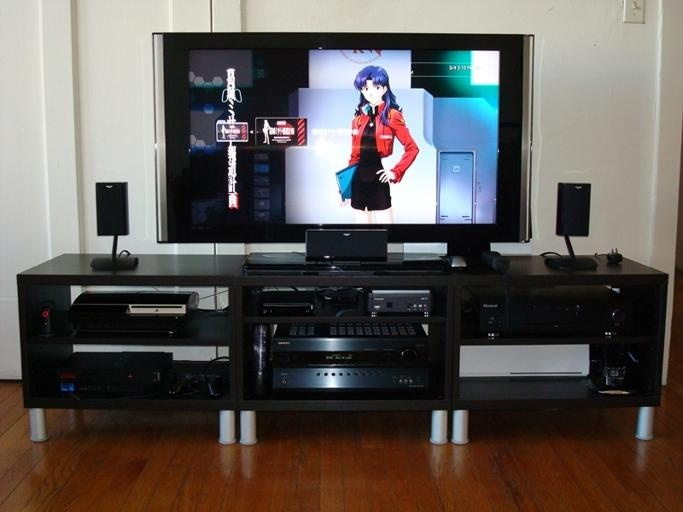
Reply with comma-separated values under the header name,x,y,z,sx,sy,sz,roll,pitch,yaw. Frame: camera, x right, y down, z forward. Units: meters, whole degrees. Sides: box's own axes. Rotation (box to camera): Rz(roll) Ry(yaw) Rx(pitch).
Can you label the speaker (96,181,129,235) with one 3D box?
name,x,y,z,sx,sy,sz,roll,pitch,yaw
speaker,-1.100,-0.223,3.346,0.153,0.255,0.169,-5,11,-18
